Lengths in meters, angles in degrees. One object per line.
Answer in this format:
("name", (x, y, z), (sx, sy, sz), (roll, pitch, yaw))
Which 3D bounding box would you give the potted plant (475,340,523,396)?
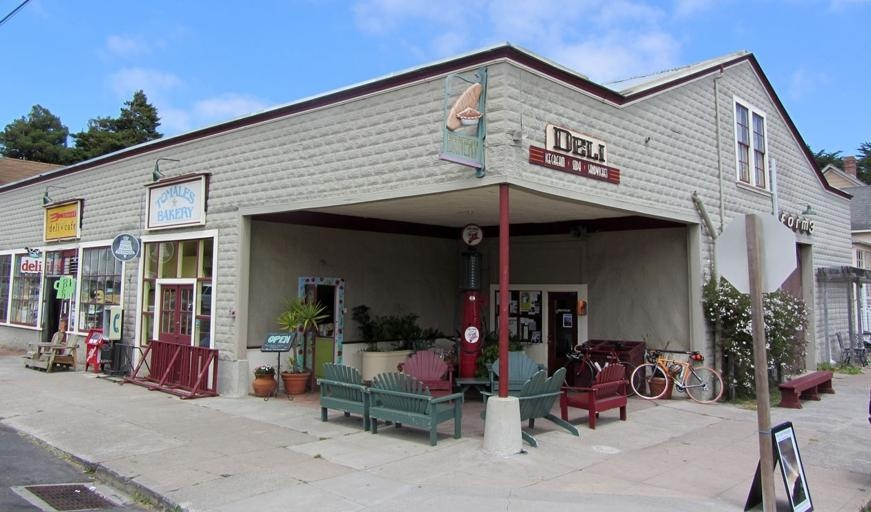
("potted plant", (1.571, 2.684, 14.918), (1.008, 1.247, 1.327), (0, -12, 4))

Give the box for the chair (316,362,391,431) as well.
("chair", (-1.847, 2.911, 12.988), (1.142, 1.138, 1.372), (0, -1, 30))

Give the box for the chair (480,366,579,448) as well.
("chair", (1.909, 3.008, 12.713), (1.347, 1.337, 1.703), (0, -5, -33))

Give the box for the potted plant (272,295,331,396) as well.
("potted plant", (-3.316, 2.220, 15.602), (1.209, 2.389, 1.262), (-1, 6, -11))

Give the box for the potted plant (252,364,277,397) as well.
("potted plant", (-4.258, 3.128, 15.341), (0.702, 0.841, 0.686), (0, -5, 10))

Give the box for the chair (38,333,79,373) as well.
("chair", (-11.042, 2.855, 18.102), (1.043, 1.162, 1.094), (-3, -5, 34))

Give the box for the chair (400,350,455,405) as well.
("chair", (-0.130, 2.811, 14.311), (1.238, 1.467, 1.102), (0, -10, -1))

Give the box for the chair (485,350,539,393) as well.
("chair", (1.868, 2.758, 14.540), (1.092, 0.946, 1.051), (-1, -8, 2))

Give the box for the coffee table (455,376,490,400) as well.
("coffee table", (0.920, 3.225, 15.038), (0.831, 0.471, 0.806), (1, -5, 0))
